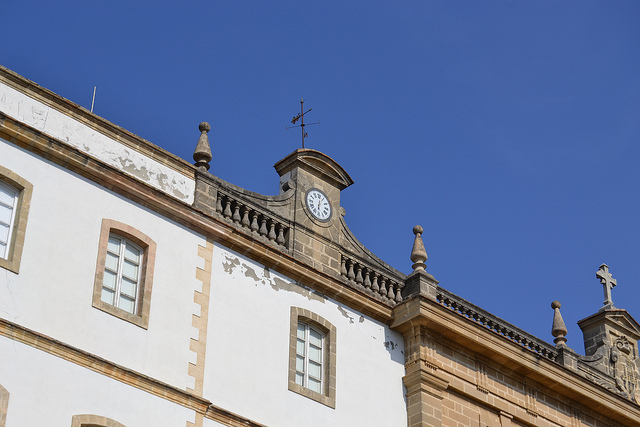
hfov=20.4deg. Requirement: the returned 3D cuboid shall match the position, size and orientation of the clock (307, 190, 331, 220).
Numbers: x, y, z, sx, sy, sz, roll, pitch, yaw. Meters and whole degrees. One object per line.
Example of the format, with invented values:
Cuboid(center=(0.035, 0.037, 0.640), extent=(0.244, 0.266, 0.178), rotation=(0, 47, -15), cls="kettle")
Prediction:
Cuboid(center=(-0.008, -0.284, 54.580), extent=(1.005, 0.984, 0.093), rotation=(8, -29, -43), cls="clock")
